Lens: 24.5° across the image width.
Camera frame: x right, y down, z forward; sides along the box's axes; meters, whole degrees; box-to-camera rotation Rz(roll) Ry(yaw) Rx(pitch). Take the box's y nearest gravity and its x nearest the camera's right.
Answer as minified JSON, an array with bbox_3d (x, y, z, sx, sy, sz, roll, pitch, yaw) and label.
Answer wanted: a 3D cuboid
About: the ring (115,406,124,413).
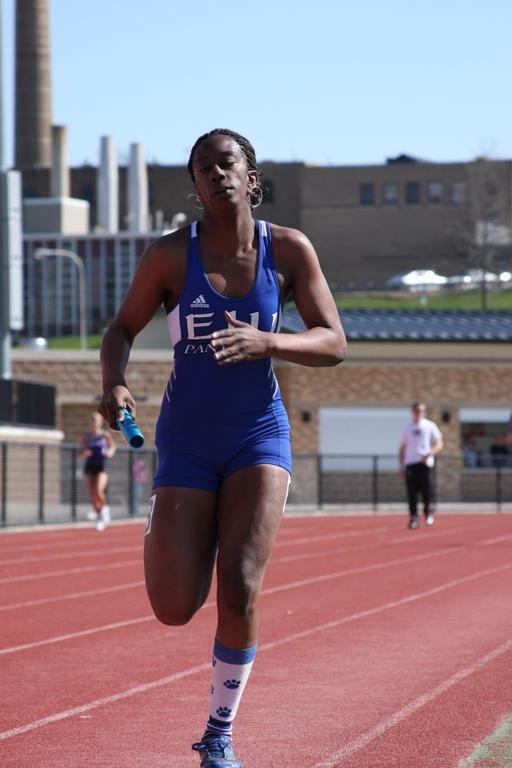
[{"bbox_3d":[-0.348,0.067,3.057,0.016,0.014,0.016,8,-3,1],"label":"ring"}]

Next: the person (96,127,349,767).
[{"bbox_3d":[-0.129,0.140,3.238,0.624,1.749,0.567,-5,-5,33],"label":"person"}]

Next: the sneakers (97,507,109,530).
[{"bbox_3d":[-1.795,1.585,13.926,0.124,0.339,0.151,11,-3,-21],"label":"sneakers"}]
